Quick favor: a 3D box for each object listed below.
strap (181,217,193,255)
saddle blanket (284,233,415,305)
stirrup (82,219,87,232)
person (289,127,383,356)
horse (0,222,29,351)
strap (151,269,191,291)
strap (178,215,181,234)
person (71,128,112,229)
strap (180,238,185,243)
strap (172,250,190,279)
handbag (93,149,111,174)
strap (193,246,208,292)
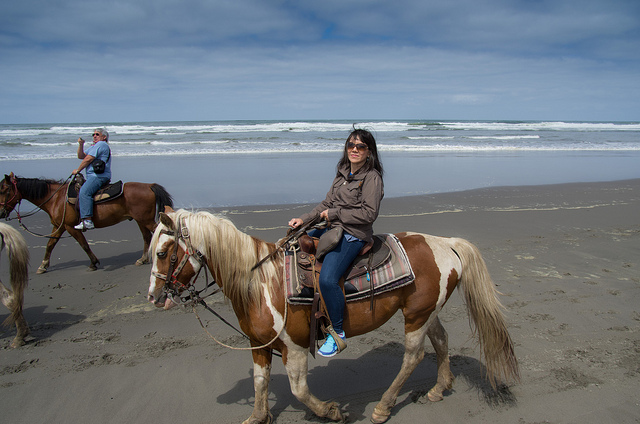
[{"bbox_3d":[-1.959,0.381,6.665,0.114,0.624,0.034,-17,-5,-3],"label":"strap"},{"bbox_3d":[0.485,0.903,6.863,1.934,0.885,0.491,-2,13,-10],"label":"saddle blanket"},{"bbox_3d":[-6.045,0.323,11.480,0.066,0.262,0.100,-6,15,-26],"label":"stirrup"},{"bbox_3d":[0.413,0.396,6.822,0.939,3.261,1.264,5,14,18],"label":"person"},{"bbox_3d":[-5.848,1.386,8.596,0.438,2.244,0.983,-7,15,-30],"label":"horse"},{"bbox_3d":[-2.216,0.982,6.648,0.446,0.074,0.293,24,-8,-5],"label":"strap"},{"bbox_3d":[-2.070,0.207,6.610,0.037,0.228,0.057,-2,13,-13],"label":"strap"},{"bbox_3d":[-5.812,-0.862,11.580,0.908,2.528,0.546,-9,16,-37],"label":"person"},{"bbox_3d":[-2.030,0.413,6.620,0.061,0.055,0.016,6,-28,-18],"label":"strap"},{"bbox_3d":[-2.058,0.806,6.659,0.134,0.542,0.100,34,-8,0],"label":"strap"},{"bbox_3d":[-5.615,-1.220,11.628,0.248,0.444,0.518,5,13,21],"label":"handbag"},{"bbox_3d":[-1.784,0.850,6.851,0.156,0.757,0.321,2,13,4],"label":"strap"}]
